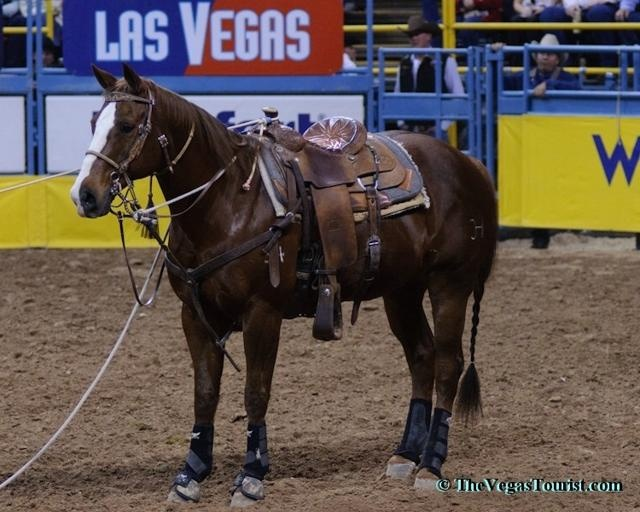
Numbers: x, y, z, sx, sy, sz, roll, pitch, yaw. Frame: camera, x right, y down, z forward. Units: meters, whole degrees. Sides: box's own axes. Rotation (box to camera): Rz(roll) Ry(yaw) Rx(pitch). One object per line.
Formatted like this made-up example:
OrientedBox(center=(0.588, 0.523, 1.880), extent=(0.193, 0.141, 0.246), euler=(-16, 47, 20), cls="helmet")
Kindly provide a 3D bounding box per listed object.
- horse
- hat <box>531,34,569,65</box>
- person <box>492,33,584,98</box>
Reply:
OrientedBox(center=(-0.322, 0.365, 11.415), extent=(3.410, 2.919, 1.221), euler=(-2, 3, -29), cls="horse")
OrientedBox(center=(2.499, -2.208, 15.477), extent=(0.354, 0.173, 0.437), euler=(-1, 4, 11), cls="hat")
OrientedBox(center=(2.305, -1.975, 15.156), extent=(0.749, 0.680, 0.864), euler=(6, 6, 42), cls="person")
